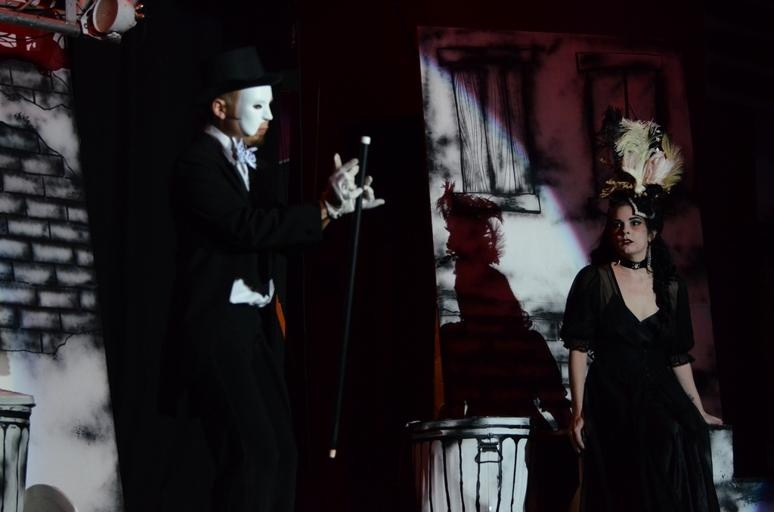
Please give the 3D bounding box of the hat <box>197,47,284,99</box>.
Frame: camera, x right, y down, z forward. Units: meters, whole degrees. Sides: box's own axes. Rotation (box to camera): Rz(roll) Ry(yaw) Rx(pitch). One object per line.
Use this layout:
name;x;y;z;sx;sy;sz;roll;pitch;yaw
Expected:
hat;-0.889;-1.073;6.624;0.398;0.173;0.340;-15;7;22
